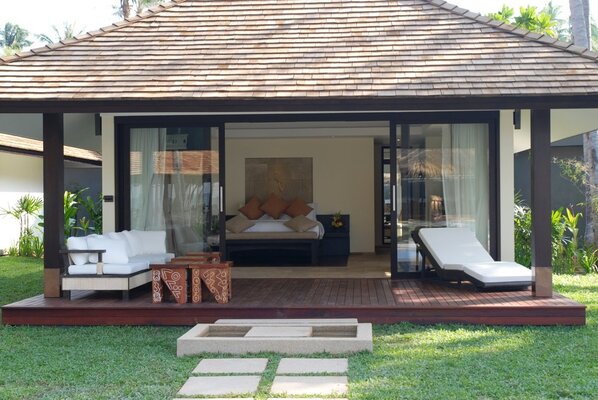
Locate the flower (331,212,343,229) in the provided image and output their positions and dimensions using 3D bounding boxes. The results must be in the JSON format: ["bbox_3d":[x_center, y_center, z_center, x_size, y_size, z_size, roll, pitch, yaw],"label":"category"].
[{"bbox_3d":[1.020,0.565,15.138,0.401,0.413,0.137,3,-3,1],"label":"flower"}]

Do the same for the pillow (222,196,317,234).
[{"bbox_3d":[-0.600,0.345,14.909,2.315,0.808,0.971,1,5,-16],"label":"pillow"}]

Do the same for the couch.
[{"bbox_3d":[-3.211,1.063,10.225,1.929,1.164,1.963,2,9,7],"label":"couch"}]

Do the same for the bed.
[{"bbox_3d":[-0.577,1.025,14.293,2.357,0.944,1.205,1,5,4],"label":"bed"}]

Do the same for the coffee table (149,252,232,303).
[{"bbox_3d":[-1.800,1.349,9.451,1.339,0.690,0.690,-2,0,-8],"label":"coffee table"}]

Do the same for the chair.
[{"bbox_3d":[3.046,1.005,10.074,1.072,1.056,1.886,-2,0,-30],"label":"chair"}]
